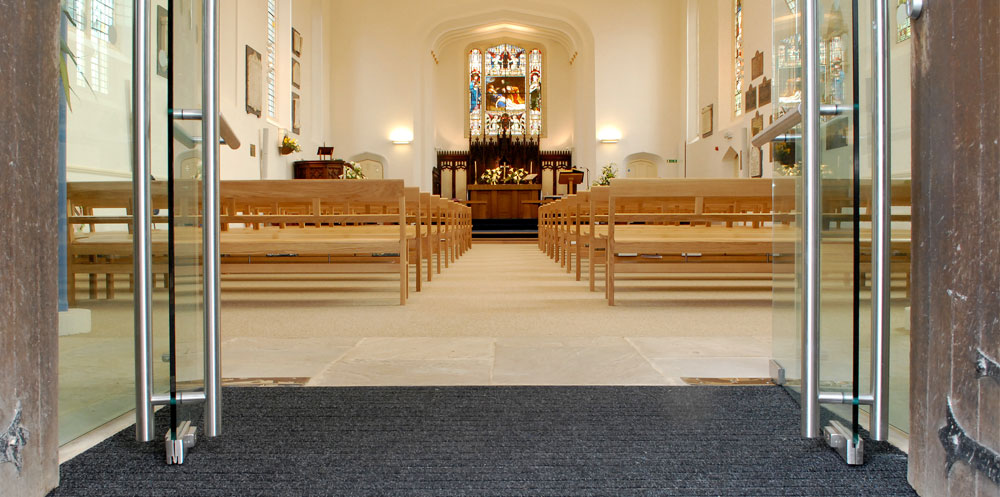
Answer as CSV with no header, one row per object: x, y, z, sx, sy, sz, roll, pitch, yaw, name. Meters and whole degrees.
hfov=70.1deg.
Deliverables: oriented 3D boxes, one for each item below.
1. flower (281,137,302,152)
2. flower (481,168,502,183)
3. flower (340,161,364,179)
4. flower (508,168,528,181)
-4.422,-2.148,15.012,0.400,0.233,0.336,1,0,-21,flower
-0.207,-1.823,18.979,0.545,0.350,0.489,-13,28,-2,flower
-3.322,-1.707,15.855,0.632,0.245,0.713,0,-2,2,flower
0.477,-1.920,18.757,0.470,0.362,0.477,-20,20,-30,flower
